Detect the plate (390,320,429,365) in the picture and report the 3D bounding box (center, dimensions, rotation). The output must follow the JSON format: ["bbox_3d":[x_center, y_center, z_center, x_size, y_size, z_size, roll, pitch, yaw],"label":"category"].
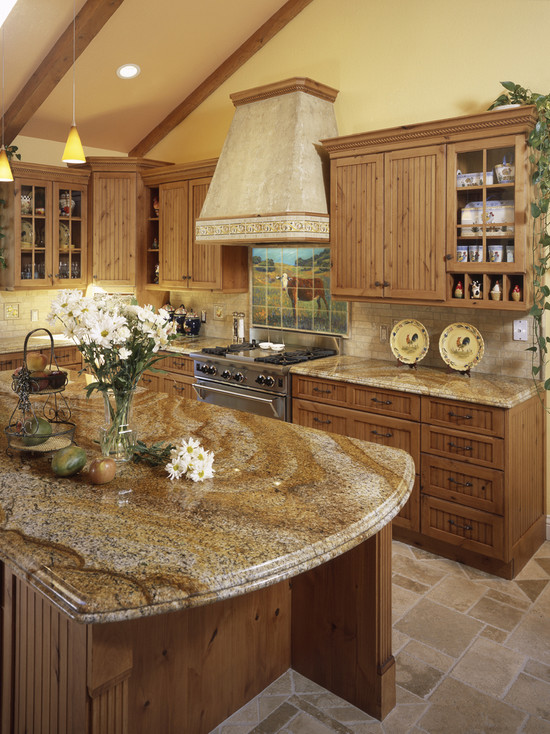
[{"bbox_3d":[0.887,-0.164,3.747,0.283,0.286,0.076,-12,-1,42],"label":"plate"}]

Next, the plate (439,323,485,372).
[{"bbox_3d":[1.138,-0.111,3.483,0.080,0.305,0.290,-6,11,-37],"label":"plate"}]

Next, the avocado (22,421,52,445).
[{"bbox_3d":[-0.811,0.224,1.964,0.070,0.048,0.083,-13,14,3],"label":"avocado"}]

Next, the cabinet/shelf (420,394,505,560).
[{"bbox_3d":[1.160,0.585,3.299,0.617,0.938,0.591,0,14,18],"label":"cabinet/shelf"}]

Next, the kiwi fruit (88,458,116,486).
[{"bbox_3d":[-0.489,0.292,1.683,0.076,0.075,0.075,6,17,9],"label":"kiwi fruit"}]

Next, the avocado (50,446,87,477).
[{"bbox_3d":[-0.617,0.273,1.760,0.102,0.061,0.076,-29,24,-37],"label":"avocado"}]

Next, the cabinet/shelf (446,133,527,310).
[{"bbox_3d":[1.195,-0.801,3.224,0.156,0.924,0.499,-7,12,-41],"label":"cabinet/shelf"}]

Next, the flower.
[{"bbox_3d":[-0.569,0.026,2.023,0.595,0.866,0.514,-1,4,-27],"label":"flower"}]

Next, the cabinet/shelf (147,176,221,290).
[{"bbox_3d":[-0.682,-1.198,5.231,0.855,0.990,0.267,14,18,43],"label":"cabinet/shelf"}]

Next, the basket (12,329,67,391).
[{"bbox_3d":[-0.894,-0.040,2.174,0.207,0.202,0.213,7,11,-1],"label":"basket"}]

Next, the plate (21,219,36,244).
[{"bbox_3d":[-2.272,-1.235,5.294,0.025,0.217,0.122,7,11,35],"label":"plate"}]

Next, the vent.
[{"bbox_3d":[-0.080,-1.592,4.481,1.185,1.024,0.602,14,20,31],"label":"vent"}]
